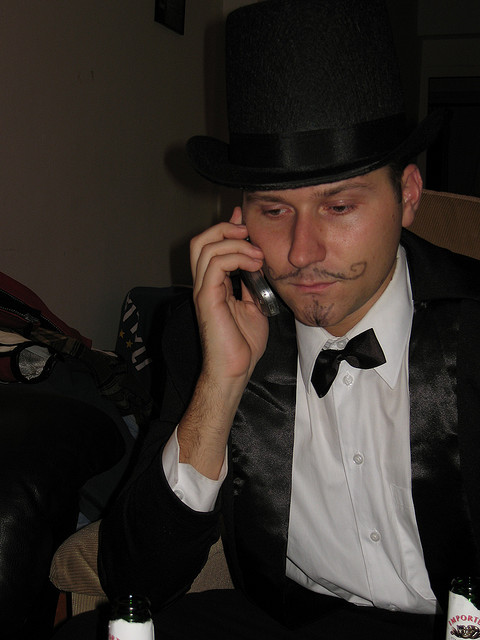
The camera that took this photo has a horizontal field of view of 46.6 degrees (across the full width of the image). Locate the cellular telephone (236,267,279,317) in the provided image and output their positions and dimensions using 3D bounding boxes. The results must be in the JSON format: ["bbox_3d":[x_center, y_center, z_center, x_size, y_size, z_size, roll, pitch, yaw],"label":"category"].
[{"bbox_3d":[0.067,-0.076,1.401,0.106,0.098,0.131,-15,27,-40],"label":"cellular telephone"}]

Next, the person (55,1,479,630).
[{"bbox_3d":[0.112,0.031,1.225,0.784,1.296,0.486,3,14,4],"label":"person"}]

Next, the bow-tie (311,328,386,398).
[{"bbox_3d":[0.221,0.084,1.193,0.195,0.107,0.042,-18,12,-17],"label":"bow-tie"}]
